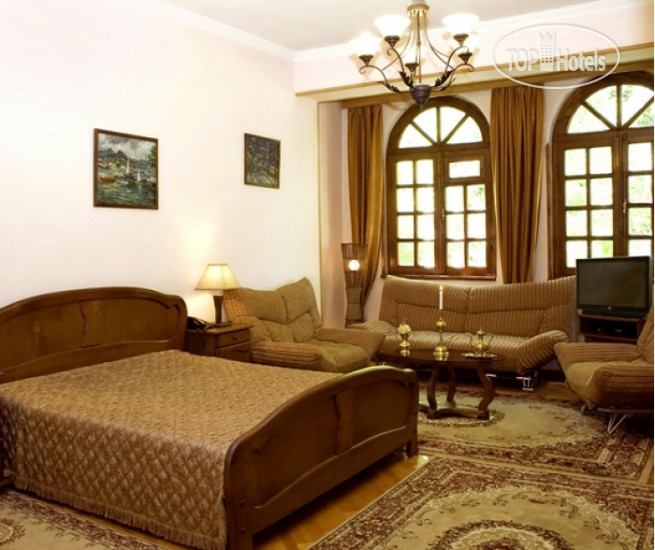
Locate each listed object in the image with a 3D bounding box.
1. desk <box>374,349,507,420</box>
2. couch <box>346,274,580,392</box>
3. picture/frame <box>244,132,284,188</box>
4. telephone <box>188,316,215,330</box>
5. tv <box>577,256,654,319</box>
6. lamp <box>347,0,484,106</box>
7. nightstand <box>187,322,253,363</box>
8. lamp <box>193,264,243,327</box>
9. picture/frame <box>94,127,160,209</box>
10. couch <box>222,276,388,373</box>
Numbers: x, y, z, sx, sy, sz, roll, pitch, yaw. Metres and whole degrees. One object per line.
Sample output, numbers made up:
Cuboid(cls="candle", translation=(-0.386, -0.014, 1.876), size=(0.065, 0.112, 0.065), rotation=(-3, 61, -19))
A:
Cuboid(cls="desk", translation=(1.159, 0.939, 4.468), size=(0.892, 0.436, 0.678), rotation=(-3, -4, 38))
Cuboid(cls="couch", translation=(1.540, 0.614, 5.966), size=(2.416, 1.162, 1.123), rotation=(0, 2, 40))
Cuboid(cls="picture/frame", translation=(-0.727, -1.268, 5.697), size=(0.546, 0.561, 0.008), rotation=(18, 26, 34))
Cuboid(cls="telephone", translation=(-1.174, 0.444, 4.678), size=(0.193, 0.064, 0.115), rotation=(5, 2, 23))
Cuboid(cls="tv", translation=(3.022, 0.138, 5.264), size=(0.664, 0.558, 0.258), rotation=(-1, -3, 44))
Cuboid(cls="lamp", translation=(0.840, -2.187, 4.909), size=(1.113, 0.971, 1.050), rotation=(-7, 9, -35))
Cuboid(cls="nightstand", translation=(-1.010, 0.722, 4.759), size=(0.415, 0.481, 0.530), rotation=(3, 5, 38))
Cuboid(cls="lamp", translation=(-0.944, 0.205, 4.950), size=(0.547, 0.713, 0.546), rotation=(-1, -4, 8))
Cuboid(cls="picture/frame", translation=(-1.723, -0.900, 4.283), size=(0.059, 0.743, 0.777), rotation=(6, 4, 34))
Cuboid(cls="couch", translation=(-0.214, 0.531, 5.161), size=(0.955, 0.934, 1.395), rotation=(-3, -3, 31))
